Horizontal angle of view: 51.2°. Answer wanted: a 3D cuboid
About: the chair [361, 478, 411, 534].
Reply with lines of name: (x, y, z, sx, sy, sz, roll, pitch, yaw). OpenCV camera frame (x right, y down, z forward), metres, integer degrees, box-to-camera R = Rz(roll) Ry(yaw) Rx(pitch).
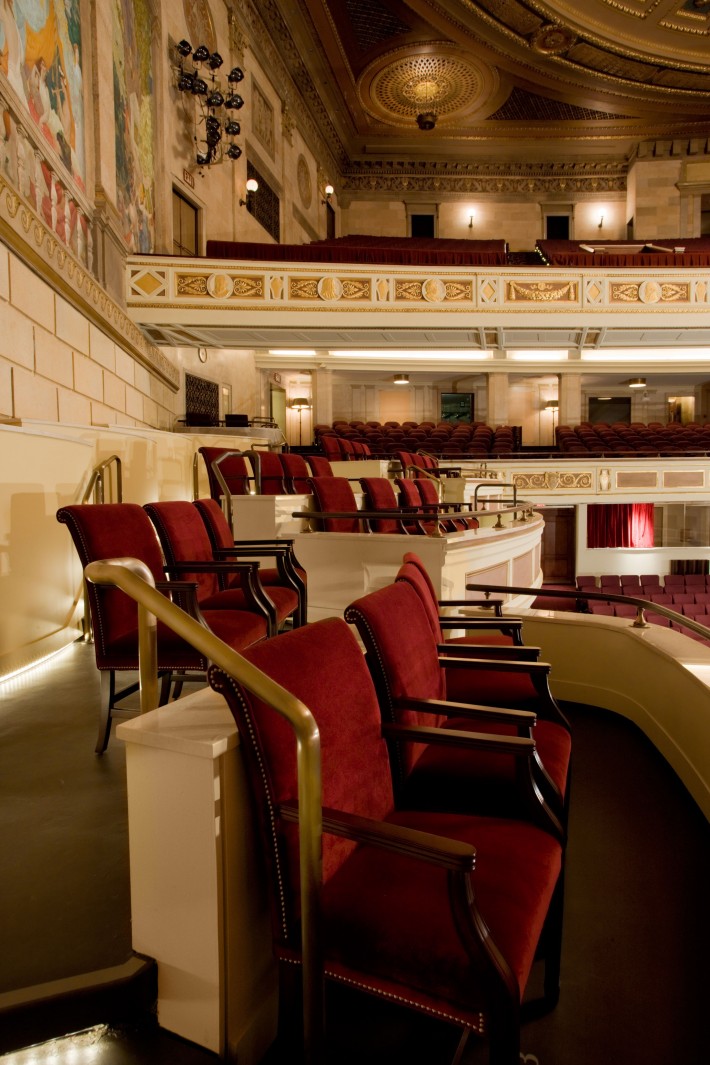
chair: (0.209, -0.172, 4.385, 0.272, 0.467, 0.323, 1, 5, 26)

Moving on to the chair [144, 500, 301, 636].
chair: (-0.466, 0.097, 2.671, 0.481, 0.692, 0.461, 0, 4, 13)

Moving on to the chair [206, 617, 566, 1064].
chair: (0.075, 0.515, 1.171, 0.447, 0.692, 0.514, 1, 6, 23)

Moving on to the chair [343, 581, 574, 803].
chair: (0.245, 0.313, 1.603, 0.414, 0.694, 0.438, -3, 3, 17)

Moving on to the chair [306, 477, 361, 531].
chair: (-0.100, -0.152, 4.054, 0.255, 0.432, 0.297, 1, 2, 34)

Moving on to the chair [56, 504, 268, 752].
chair: (-0.655, 0.190, 2.344, 0.559, 0.968, 0.645, -1, 2, 8)
